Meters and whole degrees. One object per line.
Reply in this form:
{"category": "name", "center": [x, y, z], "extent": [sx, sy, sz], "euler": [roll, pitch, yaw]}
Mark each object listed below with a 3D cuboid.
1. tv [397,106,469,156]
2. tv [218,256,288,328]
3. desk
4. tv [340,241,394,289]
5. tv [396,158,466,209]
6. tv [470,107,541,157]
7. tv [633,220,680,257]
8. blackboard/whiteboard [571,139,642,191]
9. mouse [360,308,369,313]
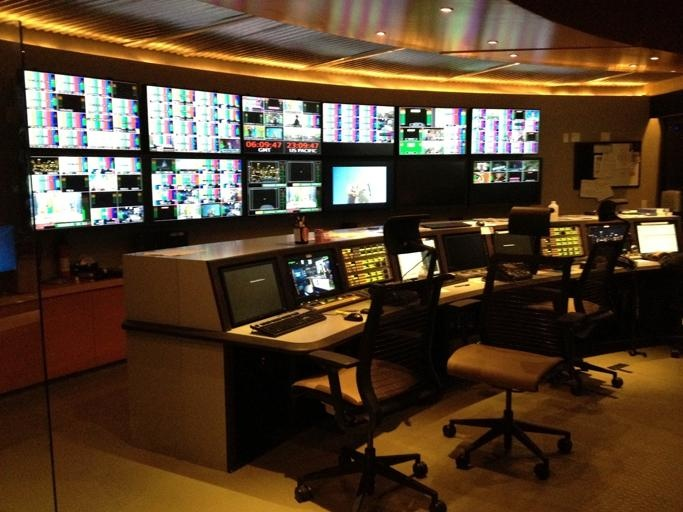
{"category": "tv", "center": [1.216, -1.644, 6.941], "extent": [1.046, 0.617, 0.096], "euler": [-5, 16, -20]}
{"category": "tv", "center": [-0.589, 0.242, 3.360], "extent": [0.509, 0.332, 0.041], "euler": [-15, -3, -42]}
{"category": "desk", "center": [0.436, 0.653, 3.747], "extent": [1.310, 0.682, 2.287], "euler": [4, 9, 43]}
{"category": "tv", "center": [0.176, 0.078, 4.142], "extent": [0.581, 0.290, 0.134], "euler": [-7, 0, -41]}
{"category": "tv", "center": [1.159, -0.984, 6.986], "extent": [0.974, 0.438, 0.086], "euler": [-1, 4, -14]}
{"category": "tv", "center": [2.262, -1.710, 7.270], "extent": [1.079, 0.624, 0.144], "euler": [-5, 15, -20]}
{"category": "tv", "center": [3.378, -0.169, 5.810], "extent": [0.747, 0.362, 0.359], "euler": [-2, -2, -1]}
{"category": "blackboard/whiteboard", "center": [3.878, -1.344, 7.774], "extent": [1.104, 0.571, 0.043], "euler": [1, 0, -1]}
{"category": "mouse", "center": [0.158, 0.379, 3.608], "extent": [0.058, 0.011, 0.057], "euler": [3, 6, 44]}
